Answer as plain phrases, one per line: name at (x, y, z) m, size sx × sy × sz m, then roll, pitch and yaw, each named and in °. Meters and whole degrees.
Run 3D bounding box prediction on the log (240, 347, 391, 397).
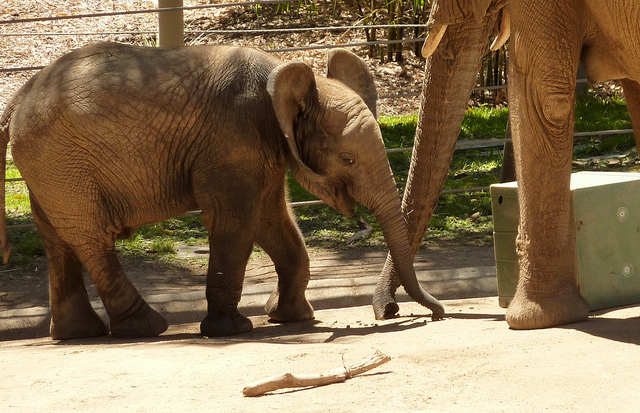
log at (-0.008, 0.855, 4.466) m, size 0.616 × 0.092 × 0.100 m, roll -8°, pitch -4°, yaw -17°
